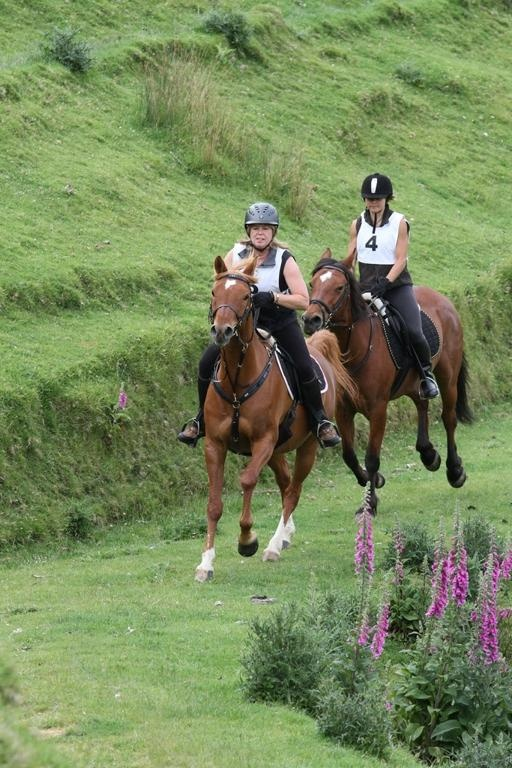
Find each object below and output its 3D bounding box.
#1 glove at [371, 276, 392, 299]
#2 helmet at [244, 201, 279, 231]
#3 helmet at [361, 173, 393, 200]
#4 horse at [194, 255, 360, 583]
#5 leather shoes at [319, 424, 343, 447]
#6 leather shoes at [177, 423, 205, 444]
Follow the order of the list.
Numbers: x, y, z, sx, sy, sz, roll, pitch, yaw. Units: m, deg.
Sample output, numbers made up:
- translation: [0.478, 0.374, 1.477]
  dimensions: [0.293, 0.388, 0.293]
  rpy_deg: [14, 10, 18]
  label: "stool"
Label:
- translation: [1.430, -1.076, 12.767]
  dimensions: [0.123, 0.268, 0.200]
  rpy_deg: [48, -4, -19]
  label: "glove"
- translation: [0.073, -1.568, 10.592]
  dimensions: [0.217, 0.212, 0.292]
  rpy_deg: [2, 9, 3]
  label: "helmet"
- translation: [1.367, -2.163, 12.493]
  dimensions: [0.258, 0.198, 0.342]
  rpy_deg: [2, 15, 10]
  label: "helmet"
- translation: [0.098, 0.309, 10.635]
  dimensions: [0.920, 2.890, 2.849]
  rpy_deg: [4, 2, 12]
  label: "horse"
- translation: [0.735, 0.510, 11.237]
  dimensions: [0.178, 0.270, 0.283]
  rpy_deg: [-1, 3, 4]
  label: "leather shoes"
- translation: [-0.657, 0.556, 11.594]
  dimensions: [0.177, 0.194, 0.468]
  rpy_deg: [6, -27, 8]
  label: "leather shoes"
